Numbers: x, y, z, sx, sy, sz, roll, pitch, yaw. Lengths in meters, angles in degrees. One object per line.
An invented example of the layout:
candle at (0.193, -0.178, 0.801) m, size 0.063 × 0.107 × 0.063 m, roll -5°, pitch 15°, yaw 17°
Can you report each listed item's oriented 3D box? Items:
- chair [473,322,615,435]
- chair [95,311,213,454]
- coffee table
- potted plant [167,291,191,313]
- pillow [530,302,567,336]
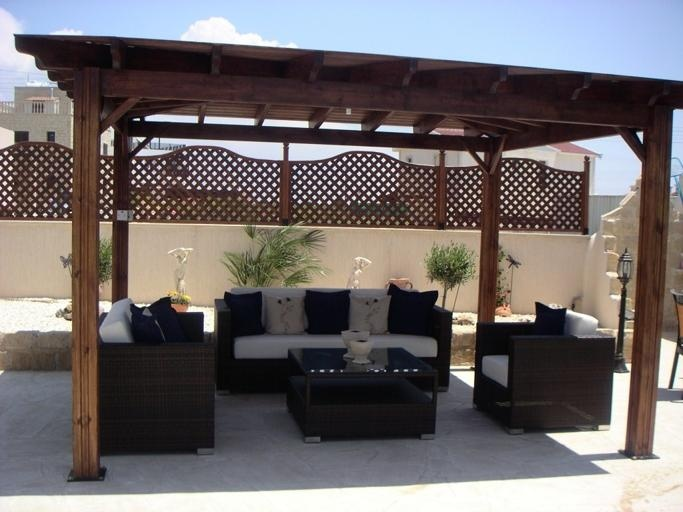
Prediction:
chair at (2.078, 1.233, 7.831) m, size 1.089 × 0.995 × 1.163 m, roll 1°, pitch 3°, yaw -9°
chair at (-1.800, 1.625, 7.377) m, size 1.071 × 1.142 × 1.716 m, roll 0°, pitch -30°, yaw -11°
coffee table at (0.184, 1.322, 7.392) m, size 1.410 × 0.671 × 0.933 m, roll 0°, pitch 14°, yaw -7°
potted plant at (-2.094, 0.598, 9.605) m, size 0.338 × 0.386 × 0.382 m, roll 0°, pitch -6°, yaw -7°
pillow at (2.248, 0.691, 8.053) m, size 0.388 × 0.490 × 0.180 m, roll -3°, pitch -24°, yaw 44°
